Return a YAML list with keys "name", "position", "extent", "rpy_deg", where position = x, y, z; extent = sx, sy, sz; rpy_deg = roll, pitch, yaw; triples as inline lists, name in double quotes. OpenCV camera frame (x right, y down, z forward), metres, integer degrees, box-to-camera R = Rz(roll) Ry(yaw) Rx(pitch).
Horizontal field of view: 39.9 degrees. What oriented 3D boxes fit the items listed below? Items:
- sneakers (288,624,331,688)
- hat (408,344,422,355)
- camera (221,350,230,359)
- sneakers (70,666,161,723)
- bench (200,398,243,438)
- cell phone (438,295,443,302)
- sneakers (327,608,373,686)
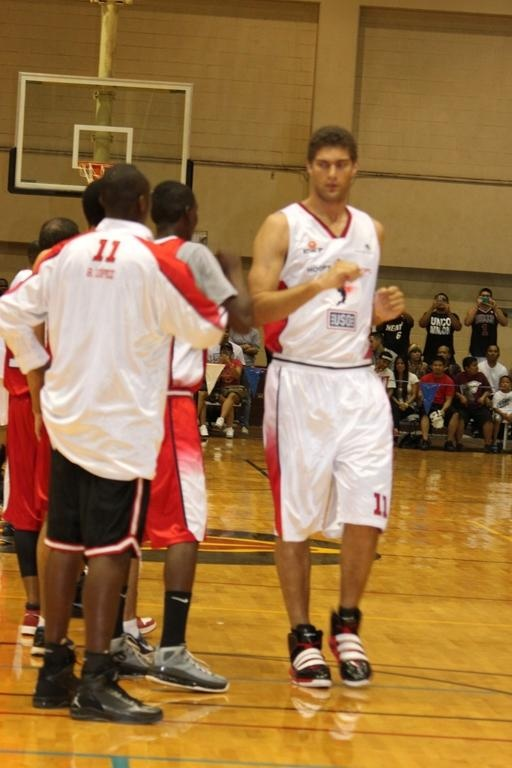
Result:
- name: "sneakers"
  position: [0.165, 0.823, 2.151]
  extent: [0.110, 0.164, 0.154]
  rpy_deg: [5, -3, -12]
- name: "hat"
  position: [2.507, -0.544, 11.131]
  extent: [0.171, 0.172, 0.222]
  rpy_deg: [1, -12, -2]
- name: "camera"
  position: [-0.476, -0.450, 10.580]
  extent: [0.091, 0.117, 0.035]
  rpy_deg: [-9, -4, 28]
- name: "sneakers"
  position: [-0.340, 0.755, 1.746]
  extent: [0.260, 0.156, 0.096]
  rpy_deg: [4, -5, -1]
- name: "bench"
  position: [-0.545, 0.551, 10.835]
  extent: [0.529, 0.553, 0.803]
  rpy_deg: [4, -1, 4]
- name: "cell phone"
  position: [2.985, -1.389, 11.462]
  extent: [0.084, 0.080, 0.148]
  rpy_deg: [-5, 22, 9]
- name: "sneakers"
  position: [0.289, 0.810, 2.181]
  extent: [0.122, 0.202, 0.182]
  rpy_deg: [4, -3, 3]
